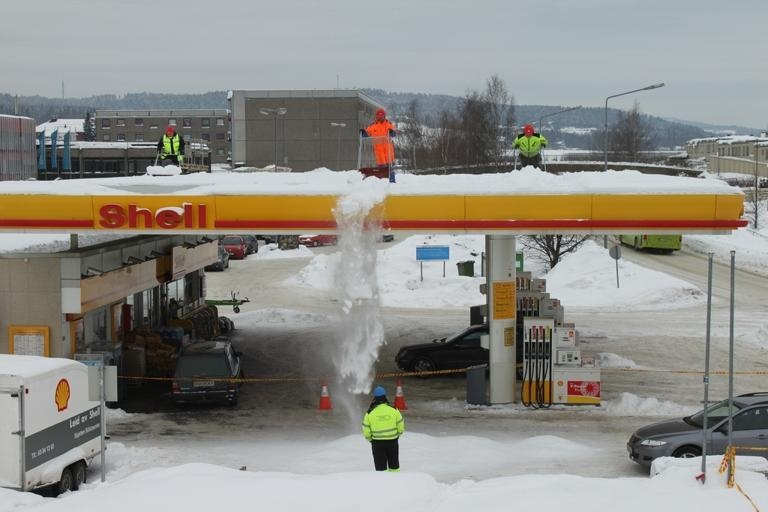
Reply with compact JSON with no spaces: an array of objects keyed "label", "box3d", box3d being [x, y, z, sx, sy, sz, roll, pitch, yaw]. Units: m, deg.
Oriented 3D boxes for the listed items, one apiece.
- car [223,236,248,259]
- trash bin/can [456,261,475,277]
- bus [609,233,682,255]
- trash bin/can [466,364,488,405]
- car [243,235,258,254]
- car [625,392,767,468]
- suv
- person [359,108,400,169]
[{"label":"car","box3d":[-9.236,-0.582,87.159,1.420,1.159,2.377,0,-2,-1]},{"label":"trash bin/can","box3d":[4.439,0.638,74.731,0.782,1.000,0.892,0,0,3]},{"label":"bus","box3d":[16.424,-0.893,85.795,3.244,1.302,5.340,-1,6,5]},{"label":"trash bin/can","box3d":[3.499,4.741,51.594,0.853,1.466,0.500,-3,6,-13]},{"label":"car","box3d":[-8.476,-0.728,89.647,0.944,0.715,1.539,3,23,-7]},{"label":"car","box3d":[10.669,5.949,46.348,4.378,2.252,1.318,-1,6,4]},{"label":"suv","box3d":[-6.512,4.192,52.270,1.694,1.402,2.915,-1,11,-4]},{"label":"person","box3d":[-0.114,-4.276,51.318,1.216,2.225,0.782,-4,1,13]}]
